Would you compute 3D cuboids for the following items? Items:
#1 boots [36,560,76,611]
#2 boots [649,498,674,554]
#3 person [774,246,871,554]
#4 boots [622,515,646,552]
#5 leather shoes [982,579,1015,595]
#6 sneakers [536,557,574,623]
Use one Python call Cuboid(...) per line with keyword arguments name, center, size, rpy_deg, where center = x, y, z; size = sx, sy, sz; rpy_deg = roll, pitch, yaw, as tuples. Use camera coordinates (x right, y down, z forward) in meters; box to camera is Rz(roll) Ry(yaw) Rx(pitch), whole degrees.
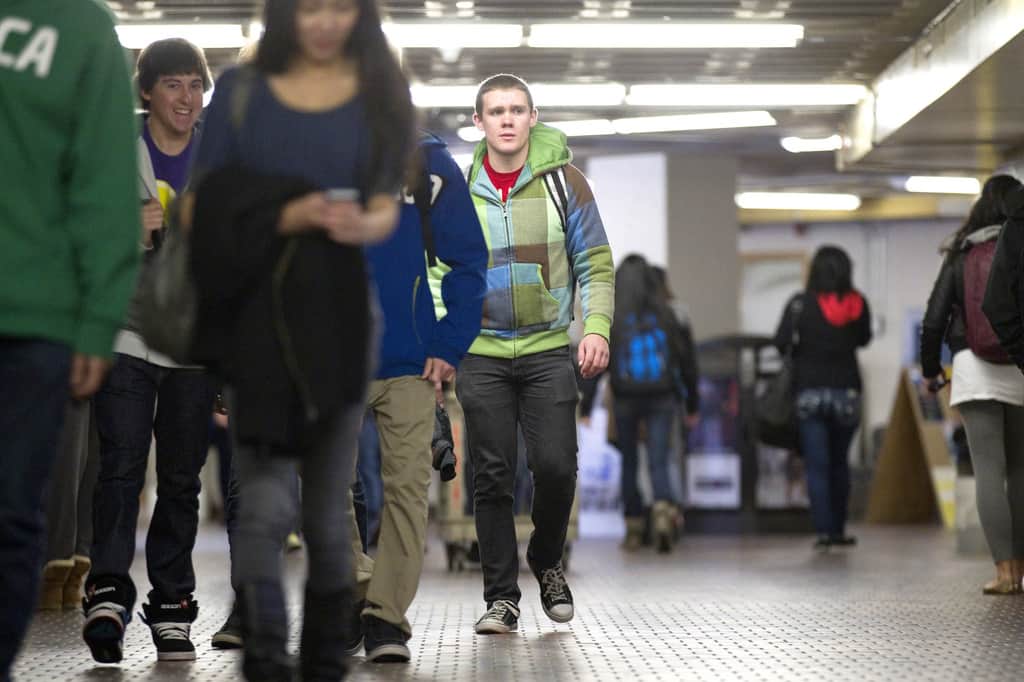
Cuboid(name="boots", center=(-2.709, 1.437, 5.703), size=(0.293, 0.316, 0.137), rpy_deg=(-9, -10, 24))
Cuboid(name="boots", center=(1.437, 1.735, 9.179), size=(0.198, 0.671, 0.284), rpy_deg=(-1, 4, 4))
Cuboid(name="person", center=(3.081, 0.500, 9.495), size=(0.867, 2.865, 0.352), rpy_deg=(-1, -7, 11))
Cuboid(name="boots", center=(1.218, 1.897, 9.685), size=(0.223, 0.301, 0.843), rpy_deg=(-1, -8, 7))
Cuboid(name="leather shoes", center=(3.109, 1.557, 6.161), size=(0.210, 0.078, 0.207), rpy_deg=(-4, -9, 24))
Cuboid(name="sneakers", center=(0.224, 1.290, 5.090), size=(0.117, 0.142, 0.358), rpy_deg=(-14, 22, -2))
